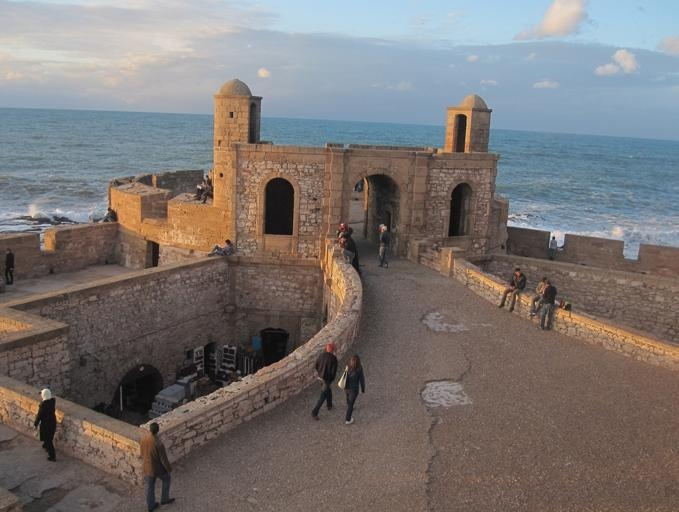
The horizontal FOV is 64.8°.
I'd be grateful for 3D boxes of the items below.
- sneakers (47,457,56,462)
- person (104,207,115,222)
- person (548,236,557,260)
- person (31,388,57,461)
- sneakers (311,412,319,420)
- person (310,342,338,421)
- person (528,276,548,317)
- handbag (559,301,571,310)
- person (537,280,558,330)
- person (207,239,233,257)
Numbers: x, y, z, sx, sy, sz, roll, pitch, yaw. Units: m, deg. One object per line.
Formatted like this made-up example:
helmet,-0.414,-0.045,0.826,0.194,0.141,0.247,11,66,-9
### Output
sneakers,-5.158,3.643,9.569,0.138,0.099,0.067,7,0,8
person,-11.345,-1.995,26.310,0.569,0.459,1.454,-7,15,-23
person,9.774,-0.344,24.475,0.378,1.064,1.146,5,15,21
person,-5.287,2.993,9.622,0.379,1.275,0.554,-9,16,-29
sneakers,-0.469,3.064,10.216,0.146,0.071,0.208,4,20,-29
person,-0.306,2.319,10.437,0.471,1.377,0.893,-1,14,0
person,5.418,1.156,14.770,0.361,1.092,0.330,29,37,30
handbag,6.069,1.327,14.338,0.206,0.210,0.281,3,12,-15
person,5.606,1.330,14.401,0.365,1.251,0.527,4,15,20
person,-4.534,-0.316,21.124,1.127,0.699,0.514,-1,7,12
